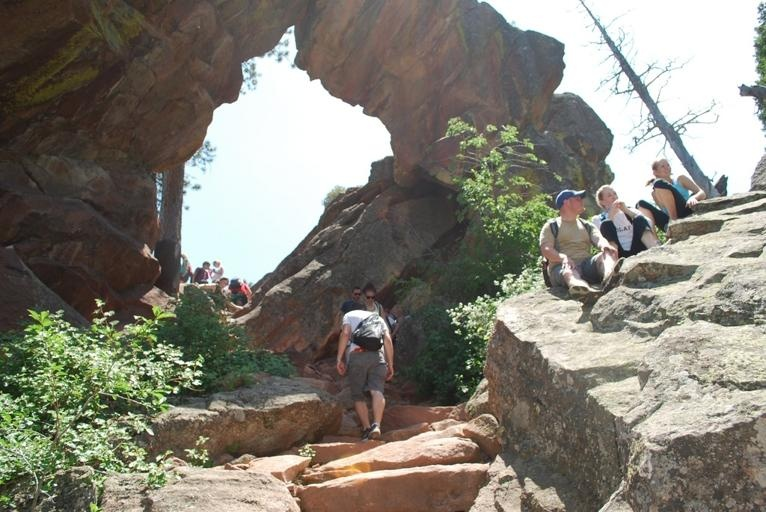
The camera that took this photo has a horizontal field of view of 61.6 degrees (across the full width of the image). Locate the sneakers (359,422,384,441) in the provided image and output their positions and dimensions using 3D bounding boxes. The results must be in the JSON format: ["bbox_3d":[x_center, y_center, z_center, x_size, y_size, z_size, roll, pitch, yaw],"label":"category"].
[{"bbox_3d":[-0.212,3.207,11.497,0.179,0.233,0.529,7,-47,-13],"label":"sneakers"}]

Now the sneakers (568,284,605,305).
[{"bbox_3d":[3.104,0.580,9.879,0.262,0.211,0.607,23,-1,-17],"label":"sneakers"}]

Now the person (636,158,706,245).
[{"bbox_3d":[5.327,-1.022,11.975,1.075,1.755,0.989,11,-33,-1],"label":"person"}]

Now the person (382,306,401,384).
[{"bbox_3d":[0.077,2.193,16.483,0.566,2.085,0.588,-2,-25,9],"label":"person"}]

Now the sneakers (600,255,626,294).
[{"bbox_3d":[3.478,0.279,9.782,0.220,0.722,0.269,8,7,7],"label":"sneakers"}]
